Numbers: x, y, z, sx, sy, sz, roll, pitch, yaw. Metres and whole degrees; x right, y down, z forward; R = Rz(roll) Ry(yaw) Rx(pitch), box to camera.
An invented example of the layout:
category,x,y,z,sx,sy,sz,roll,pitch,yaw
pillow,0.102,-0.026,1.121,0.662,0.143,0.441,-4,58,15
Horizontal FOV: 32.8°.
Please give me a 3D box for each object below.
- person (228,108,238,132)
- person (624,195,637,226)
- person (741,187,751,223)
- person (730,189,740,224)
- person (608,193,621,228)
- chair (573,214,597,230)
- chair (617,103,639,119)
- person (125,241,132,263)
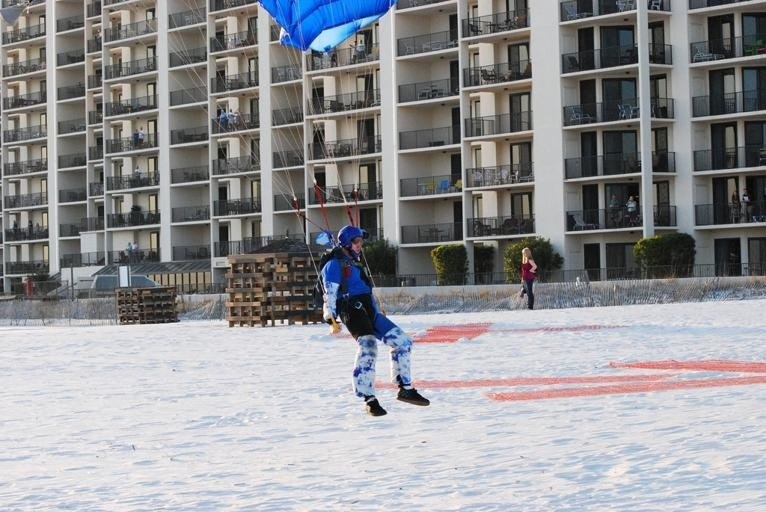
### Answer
category,x,y,z,sx,sy,sz,roll,pitch,yaw
person,-8.552,-7.665,74.303,0.529,1.262,1.003,-4,-5,-6
person,11.622,-2.089,60.294,0.545,1.455,1.239,-6,-5,11
person,16.647,-2.198,59.133,0.451,1.400,0.490,-7,-6,22
person,16.187,-2.167,59.333,0.534,1.403,0.548,-7,-6,21
person,10.973,-2.147,61.149,0.678,1.736,1.355,-6,-5,10
chair,9.647,-1.561,61.658,0.867,0.482,0.822,-4,6,-32
chair,11.760,-6.732,61.034,0.819,1.013,0.791,-2,4,-33
person,-16.259,-0.163,82.766,0.387,1.320,1.446,-3,-5,-13
